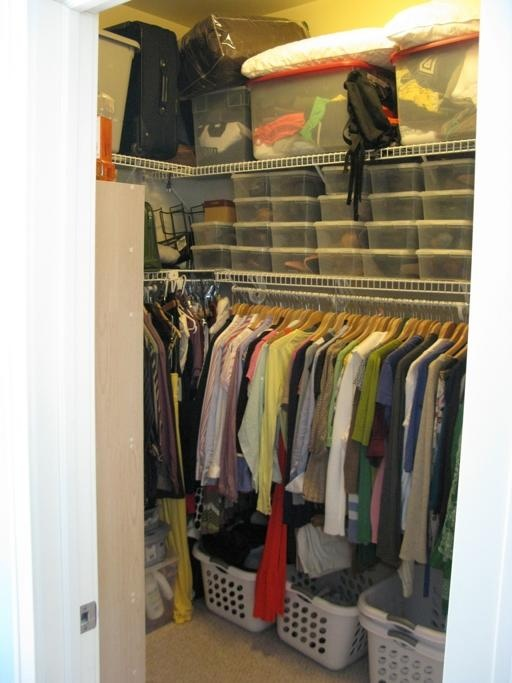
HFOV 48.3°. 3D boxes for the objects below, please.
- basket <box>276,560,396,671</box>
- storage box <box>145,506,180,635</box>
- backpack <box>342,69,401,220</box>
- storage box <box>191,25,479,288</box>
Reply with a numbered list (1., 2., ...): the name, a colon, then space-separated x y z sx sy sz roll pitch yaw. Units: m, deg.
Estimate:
1. basket: 0.343 1.028 2.432 0.315 0.349 0.401 8 15 40
2. storage box: -0.430 1.016 2.545 0.095 0.589 0.259 1 8 14
3. backpack: 0.399 -0.751 2.154 0.100 0.481 0.305 4 15 20
4. storage box: 0.355 -0.677 2.268 0.914 0.865 0.740 12 20 43
